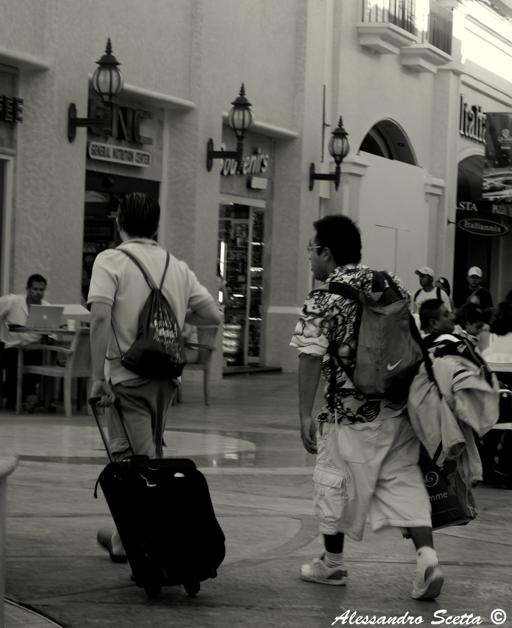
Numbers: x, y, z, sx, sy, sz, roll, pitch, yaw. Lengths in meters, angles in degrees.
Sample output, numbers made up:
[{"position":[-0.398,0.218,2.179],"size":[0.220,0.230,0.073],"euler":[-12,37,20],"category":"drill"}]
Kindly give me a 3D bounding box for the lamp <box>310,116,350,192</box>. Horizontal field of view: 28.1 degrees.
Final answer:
[{"position":[1.380,-2.957,18.557],"size":[0.671,1.451,1.042],"euler":[2,2,14],"category":"lamp"}]

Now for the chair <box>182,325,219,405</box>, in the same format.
[{"position":[-0.585,0.557,12.695],"size":[0.609,0.943,0.630],"euler":[-1,7,12],"category":"chair"}]

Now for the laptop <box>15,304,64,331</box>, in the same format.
[{"position":[-2.247,0.030,10.830],"size":[0.385,0.263,0.397],"euler":[2,3,-14],"category":"laptop"}]

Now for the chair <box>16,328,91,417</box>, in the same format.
[{"position":[-2.125,0.565,11.068],"size":[0.743,1.288,0.825],"euler":[2,-1,13],"category":"chair"}]

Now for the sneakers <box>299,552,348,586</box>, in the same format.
[{"position":[0.280,1.041,4.236],"size":[0.187,0.168,0.098],"euler":[6,7,17],"category":"sneakers"}]

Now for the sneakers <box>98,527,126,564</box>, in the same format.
[{"position":[-0.639,1.015,4.492],"size":[0.065,0.110,0.280],"euler":[-9,19,-19],"category":"sneakers"}]

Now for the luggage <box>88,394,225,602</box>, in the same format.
[{"position":[-0.352,0.795,3.833],"size":[0.456,0.479,0.206],"euler":[1,2,-14],"category":"luggage"}]

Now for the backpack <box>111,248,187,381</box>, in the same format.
[{"position":[-0.421,0.002,4.224],"size":[0.297,0.546,0.262],"euler":[1,2,-23],"category":"backpack"}]

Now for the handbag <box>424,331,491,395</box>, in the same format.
[{"position":[0.859,0.156,4.399],"size":[0.175,0.357,0.349],"euler":[-23,3,11],"category":"handbag"}]

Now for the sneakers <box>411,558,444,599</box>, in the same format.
[{"position":[0.648,0.999,3.849],"size":[0.066,0.157,0.201],"euler":[1,-6,2],"category":"sneakers"}]
